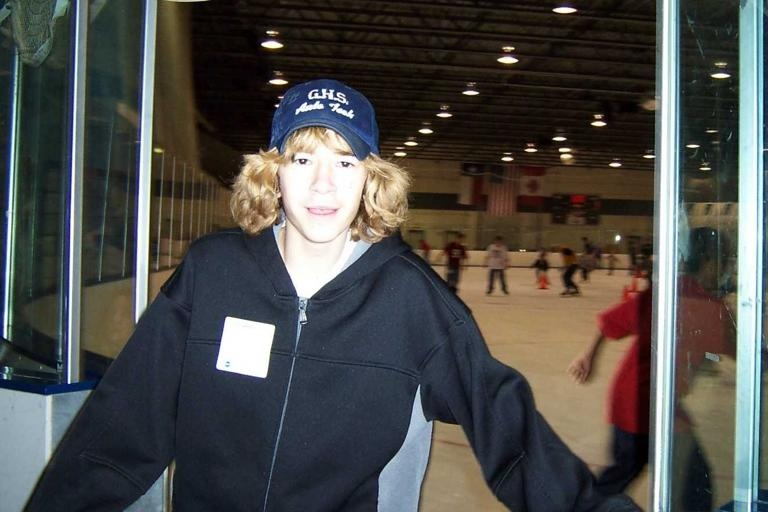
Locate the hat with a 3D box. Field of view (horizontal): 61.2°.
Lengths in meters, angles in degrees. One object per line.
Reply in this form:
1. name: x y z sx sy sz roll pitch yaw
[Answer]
1. hat: -0.205 -0.463 2.203 0.265 0.196 0.368 5 6 -2
